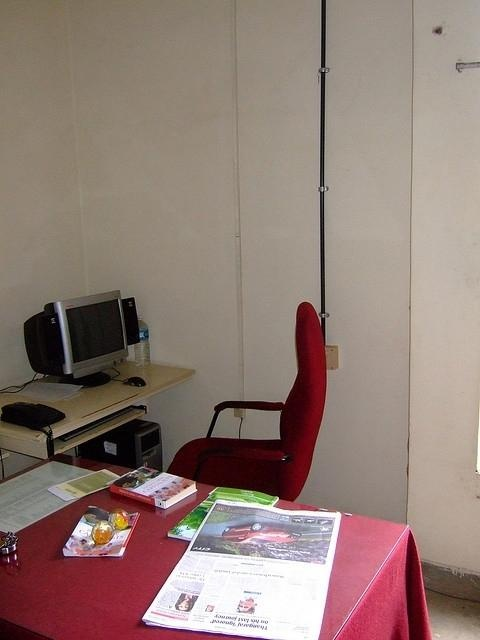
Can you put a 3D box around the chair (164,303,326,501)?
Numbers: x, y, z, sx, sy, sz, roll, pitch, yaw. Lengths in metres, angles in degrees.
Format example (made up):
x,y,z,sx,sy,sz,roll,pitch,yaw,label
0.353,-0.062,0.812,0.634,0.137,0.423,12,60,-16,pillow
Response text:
x,y,z,sx,sy,sz,roll,pitch,yaw,label
0.022,0.319,1.911,0.542,0.846,0.479,9,14,11,chair

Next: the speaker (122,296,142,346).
x,y,z,sx,sy,sz,roll,pitch,yaw,label
-0.577,0.038,2.705,0.086,0.090,0.370,-4,42,-12,speaker

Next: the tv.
x,y,z,sx,sy,sz,roll,pitch,yaw,label
-0.733,0.102,2.475,0.228,0.354,0.328,-1,9,35,tv
